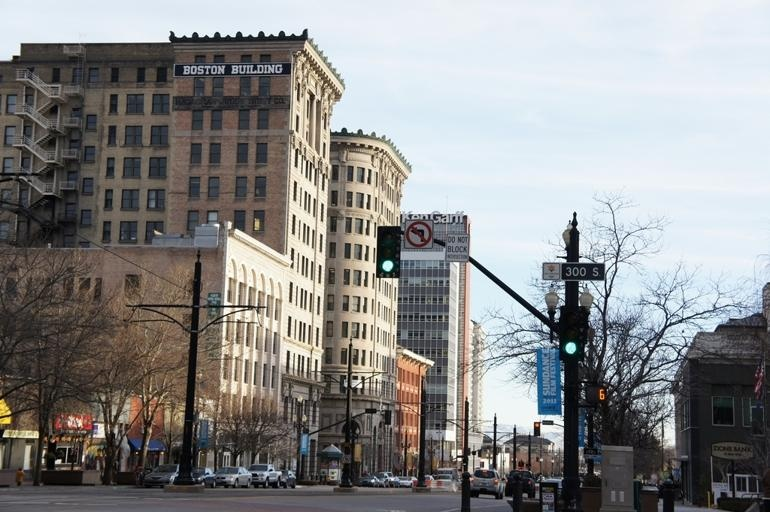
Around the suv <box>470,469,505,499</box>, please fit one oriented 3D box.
[{"bbox_3d":[8.741,19.514,120.675,2.752,2.383,2.494,2,-12,-2],"label":"suv"}]

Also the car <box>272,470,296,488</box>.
[{"bbox_3d":[-9.117,20.342,128.437,1.448,0.904,1.988,-2,-27,4],"label":"car"}]

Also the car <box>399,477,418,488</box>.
[{"bbox_3d":[2.388,23.336,145.553,1.795,0.880,3.042,1,2,9],"label":"car"}]

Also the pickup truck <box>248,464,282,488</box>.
[{"bbox_3d":[-10.792,19.466,124.478,2.410,2.192,3.968,1,-12,3],"label":"pickup truck"}]

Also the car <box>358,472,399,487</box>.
[{"bbox_3d":[-0.644,23.242,145.916,2.956,0.822,1.702,16,-21,-40],"label":"car"}]

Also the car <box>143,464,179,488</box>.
[{"bbox_3d":[-17.874,17.339,111.085,2.501,2.118,4.839,3,-12,-9],"label":"car"}]

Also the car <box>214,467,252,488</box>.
[{"bbox_3d":[-13.005,18.661,118.488,1.787,1.857,3.605,-5,-13,25],"label":"car"}]
